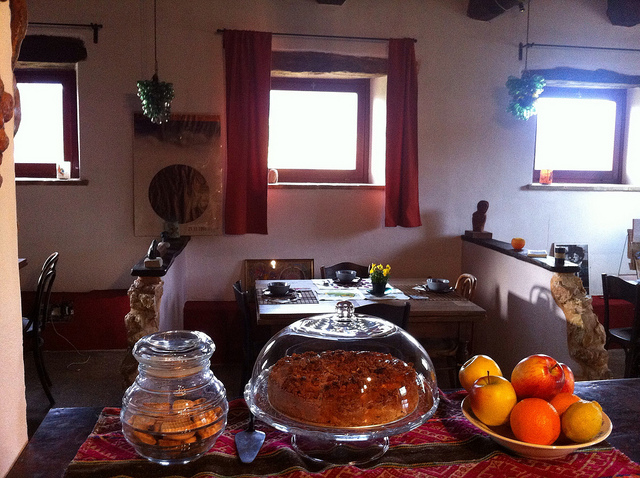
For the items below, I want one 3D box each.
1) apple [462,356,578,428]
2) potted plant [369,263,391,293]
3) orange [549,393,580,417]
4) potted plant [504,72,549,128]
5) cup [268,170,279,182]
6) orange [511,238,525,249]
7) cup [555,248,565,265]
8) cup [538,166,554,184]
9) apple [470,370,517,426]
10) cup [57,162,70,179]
[{"bbox_3d":[0.475,0.365,1.163,0.191,0.090,0.201,-22,21,-38],"label":"apple"},{"bbox_3d":[0.388,0.289,3.290,0.162,0.224,0.160,1,-1,-4],"label":"potted plant"},{"bbox_3d":[0.588,0.395,1.132,0.051,0.054,0.063,16,-42,-26],"label":"orange"},{"bbox_3d":[1.956,-1.377,4.343,0.430,0.201,0.410,6,-33,32],"label":"potted plant"},{"bbox_3d":[-0.441,-0.599,4.524,0.093,0.126,0.105,1,3,1],"label":"cup"},{"bbox_3d":[1.606,0.035,3.787,0.078,0.081,0.080,7,8,14],"label":"orange"},{"bbox_3d":[1.624,0.118,3.175,0.053,0.110,0.081,0,4,27],"label":"cup"},{"bbox_3d":[2.338,-0.655,4.831,0.135,0.194,0.298,0,4,26],"label":"cup"},{"bbox_3d":[0.425,0.395,1.141,0.106,0.143,0.110,-7,-1,20],"label":"apple"},{"bbox_3d":[-2.318,-0.617,4.245,0.101,0.156,0.048,-3,4,-26],"label":"cup"}]
